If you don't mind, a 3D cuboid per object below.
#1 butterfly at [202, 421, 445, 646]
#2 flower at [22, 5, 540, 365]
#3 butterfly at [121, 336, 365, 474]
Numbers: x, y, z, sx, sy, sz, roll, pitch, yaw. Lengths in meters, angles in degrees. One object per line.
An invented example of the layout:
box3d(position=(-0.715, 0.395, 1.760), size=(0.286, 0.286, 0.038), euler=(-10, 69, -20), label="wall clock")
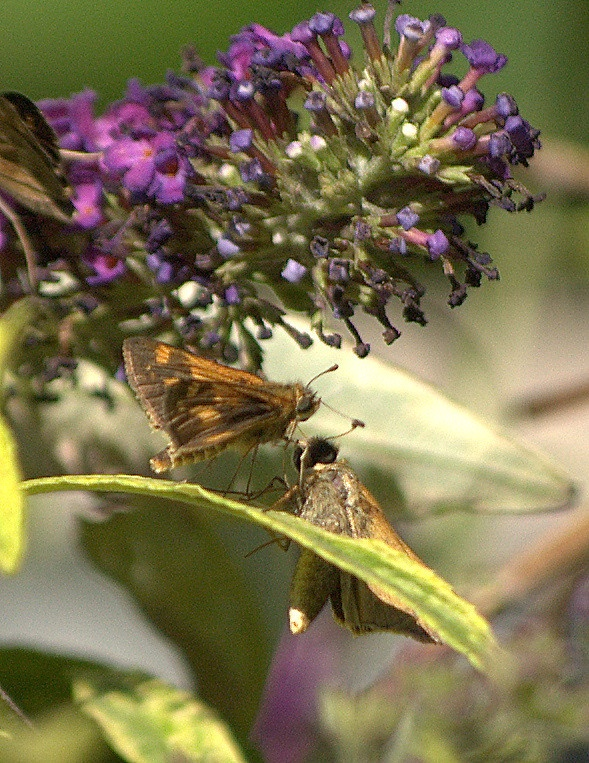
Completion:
box3d(position=(0.017, 0.170, 1.049), size=(0.189, 0.306, 0.160), euler=(-36, -14, 31), label="butterfly")
box3d(position=(-0.104, -0.217, 1.099), size=(0.756, 0.284, 0.370), euler=(-8, 7, 12), label="flower")
box3d(position=(-0.078, 0.019, 1.028), size=(0.268, 0.128, 0.154), euler=(-8, 8, -20), label="butterfly")
